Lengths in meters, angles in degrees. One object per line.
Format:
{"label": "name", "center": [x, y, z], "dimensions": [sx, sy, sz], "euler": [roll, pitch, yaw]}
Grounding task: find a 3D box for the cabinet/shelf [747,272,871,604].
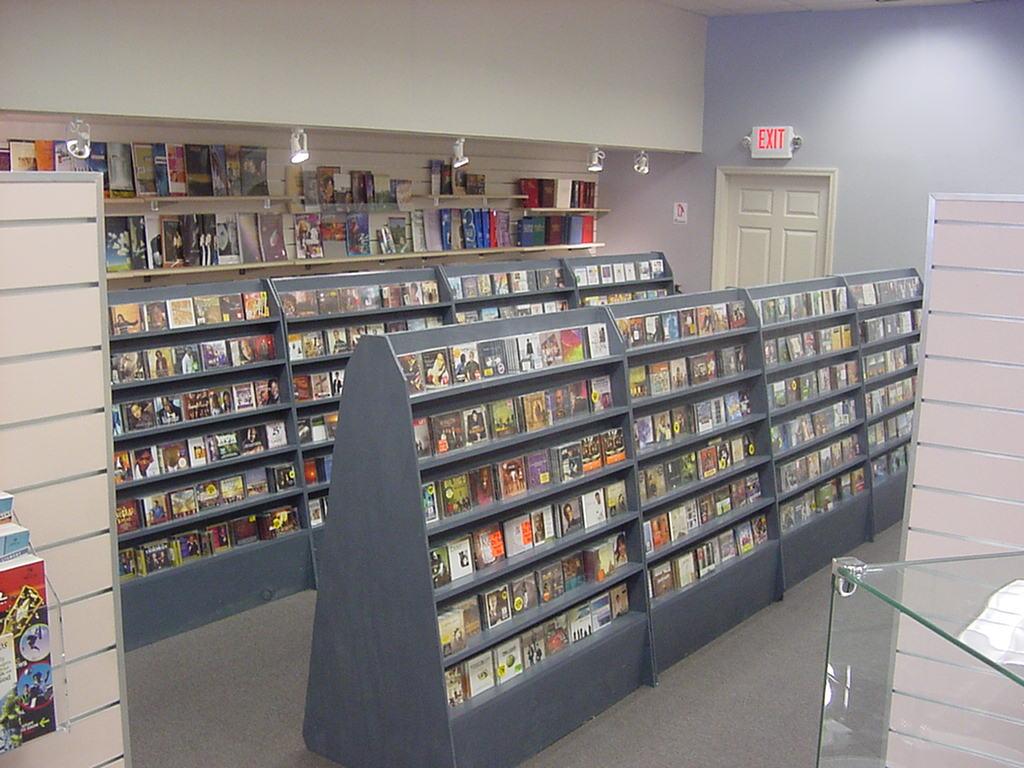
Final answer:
{"label": "cabinet/shelf", "center": [2.084, 0.417, 5.179], "dimensions": [0.515, 2.368, 1.986], "euler": [1, 8, 37]}
